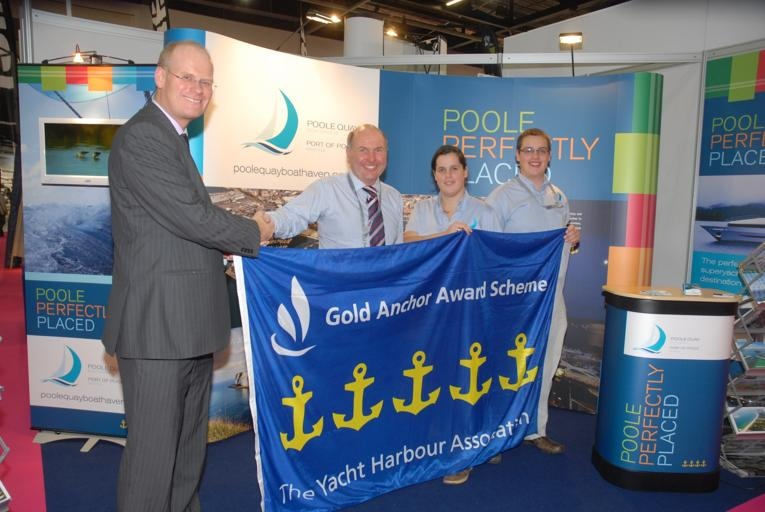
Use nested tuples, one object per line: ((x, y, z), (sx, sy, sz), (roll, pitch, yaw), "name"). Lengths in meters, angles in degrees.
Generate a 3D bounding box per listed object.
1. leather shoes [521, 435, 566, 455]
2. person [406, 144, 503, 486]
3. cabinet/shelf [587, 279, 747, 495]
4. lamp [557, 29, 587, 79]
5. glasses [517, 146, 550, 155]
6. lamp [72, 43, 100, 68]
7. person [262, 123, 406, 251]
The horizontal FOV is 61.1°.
((1.416, 1.631, 5.642), (0.116, 0.148, 0.309), (-7, 6, -42), "leather shoes")
((0.668, 0.232, 5.785), (0.689, 2.505, 0.592), (1, 29, 18), "person")
((2.503, 0.954, 6.217), (1.274, 2.467, 1.551), (1, 5, 2), "cabinet/shelf")
((1.831, -1.962, 6.335), (0.197, 0.421, 0.737), (2, 9, 15), "lamp")
((1.296, -0.908, 5.548), (0.247, 0.058, 0.094), (2, 9, 12), "glasses")
((-2.925, -1.970, 6.356), (0.260, 0.147, 0.439), (-5, 10, -26), "lamp")
((-0.473, -0.566, 5.405), (1.049, 0.730, 0.313), (-2, 19, -31), "person")
